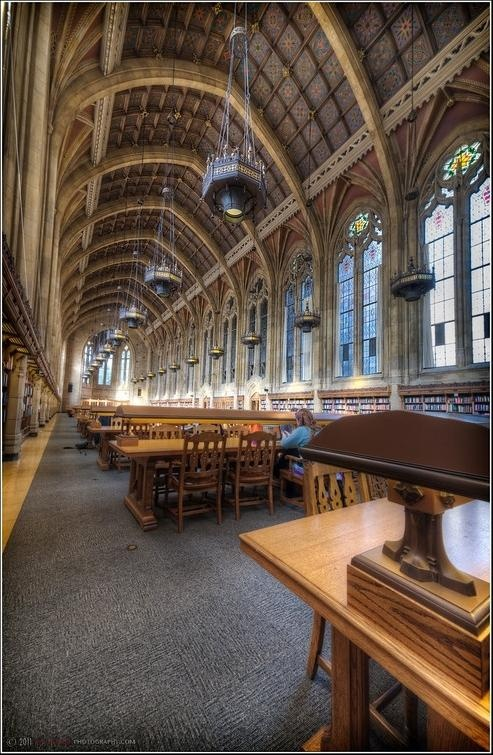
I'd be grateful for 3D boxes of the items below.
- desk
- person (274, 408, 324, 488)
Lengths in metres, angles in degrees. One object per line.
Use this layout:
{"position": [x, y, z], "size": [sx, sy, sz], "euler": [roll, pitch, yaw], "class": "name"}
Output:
{"position": [0.457, 0.782, 1.587], "size": [0.709, 0.888, 0.754], "euler": [7, -3, -30], "class": "desk"}
{"position": [0.543, 0.762, 4.865], "size": [0.409, 0.845, 0.333], "euler": [8, 9, 31], "class": "person"}
